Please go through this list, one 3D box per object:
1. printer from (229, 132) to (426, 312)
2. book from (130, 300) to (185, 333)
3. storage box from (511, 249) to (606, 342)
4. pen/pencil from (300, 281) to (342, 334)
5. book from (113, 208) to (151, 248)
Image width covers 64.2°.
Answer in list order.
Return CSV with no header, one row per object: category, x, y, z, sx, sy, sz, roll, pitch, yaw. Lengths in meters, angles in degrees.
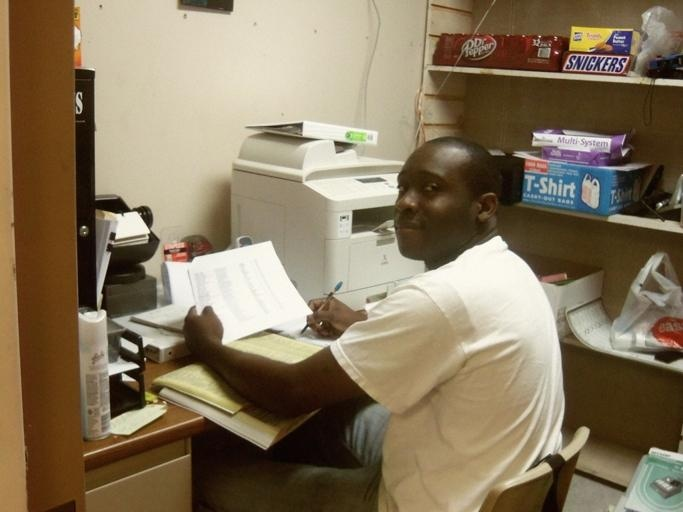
printer,-0.014,-0.257,2.128,0.598,0.729,0.599,14,20,36
book,-0.499,0.172,1.560,0.087,0.023,0.091,17,16,18
storage box,0.984,0.156,2.566,0.365,0.247,0.371,21,23,31
pen/pencil,-0.057,0.159,1.670,0.018,0.019,0.237,20,39,13
book,-0.616,-0.083,1.584,0.123,0.031,0.125,-18,44,-33
